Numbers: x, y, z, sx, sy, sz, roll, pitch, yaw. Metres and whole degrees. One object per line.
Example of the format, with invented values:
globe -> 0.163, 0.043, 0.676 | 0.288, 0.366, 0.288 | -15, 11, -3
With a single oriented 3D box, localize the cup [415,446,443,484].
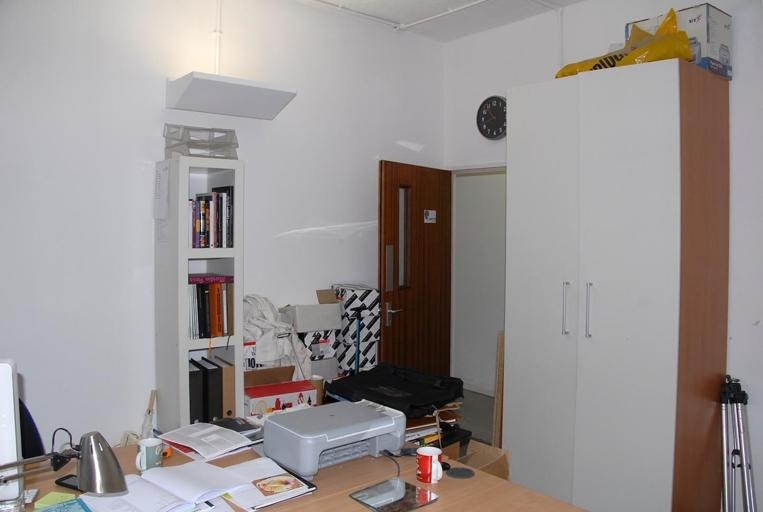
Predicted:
cup -> 0.239, 1.087, 3.017 | 0.123, 0.132, 0.182 | 0, 8, -9

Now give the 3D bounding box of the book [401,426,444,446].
book -> 0.263, 1.141, 3.657 | 0.204, 0.061, 0.201 | -1, 1, -34

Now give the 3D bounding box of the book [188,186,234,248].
book -> -1.215, -0.282, 4.144 | 0.310, 0.444, 0.189 | -3, 3, -20

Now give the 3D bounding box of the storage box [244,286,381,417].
storage box -> -0.587, 0.762, 4.579 | 0.922, 0.841, 0.289 | -2, 5, -36
